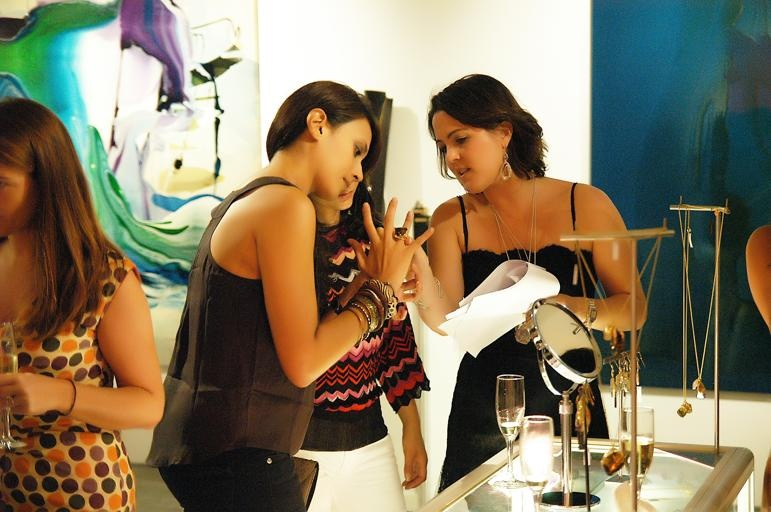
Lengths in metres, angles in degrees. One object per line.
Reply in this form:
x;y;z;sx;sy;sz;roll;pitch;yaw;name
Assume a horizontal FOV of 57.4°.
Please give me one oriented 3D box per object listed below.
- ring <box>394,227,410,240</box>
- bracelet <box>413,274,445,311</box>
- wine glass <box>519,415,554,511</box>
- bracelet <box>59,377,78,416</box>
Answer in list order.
0.053;-0.071;2.244;0.031;0.019;0.040;-35;23;-24;ring
0.181;0.145;2.863;0.102;0.107;0.130;-11;13;6;bracelet
0.438;0.599;2.009;0.095;0.272;0.076;5;-6;-36;wine glass
-0.886;0.405;1.988;0.059;0.083;0.027;-6;-12;43;bracelet
